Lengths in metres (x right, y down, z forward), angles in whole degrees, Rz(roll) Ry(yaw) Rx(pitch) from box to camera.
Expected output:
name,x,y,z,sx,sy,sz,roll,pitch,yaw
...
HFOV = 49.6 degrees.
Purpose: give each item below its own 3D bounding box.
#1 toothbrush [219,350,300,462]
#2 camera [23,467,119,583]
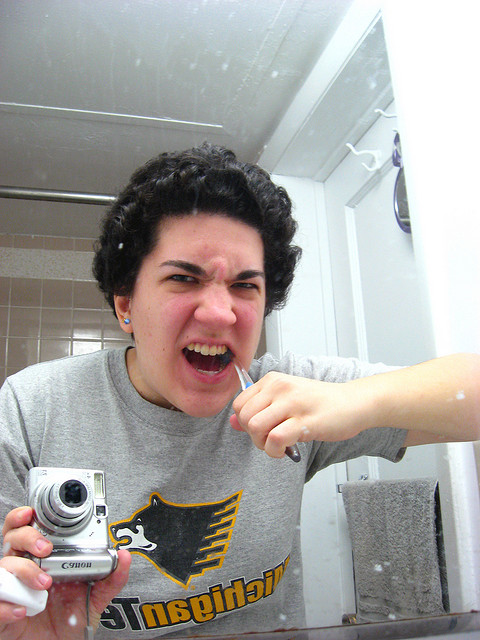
name,x,y,z,sx,sy,sz,roll,pitch,yaw
toothbrush,0.022,0.120,0.691,0.039,0.233,0.025,9,-50,-47
camera,-0.181,0.211,0.531,0.071,0.120,0.095,-29,-37,30
